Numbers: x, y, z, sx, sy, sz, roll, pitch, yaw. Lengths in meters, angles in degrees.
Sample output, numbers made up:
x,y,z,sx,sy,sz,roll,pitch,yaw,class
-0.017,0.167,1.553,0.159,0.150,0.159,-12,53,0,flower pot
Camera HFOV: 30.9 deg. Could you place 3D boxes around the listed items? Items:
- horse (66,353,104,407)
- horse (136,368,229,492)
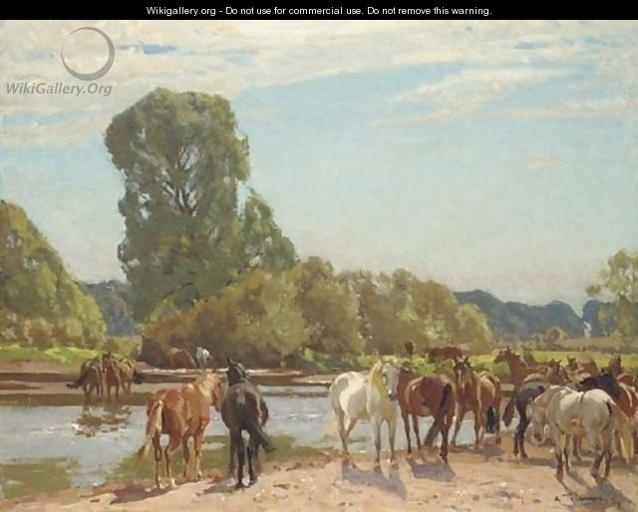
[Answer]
x,y,z,sx,sy,sz,roll,pitch,yaw,class
-10.008,5.216,50.206,1.212,1.967,2.049,-1,1,-13,horse
-4.820,6.087,40.591,1.124,3.829,3.107,1,2,37,horse
